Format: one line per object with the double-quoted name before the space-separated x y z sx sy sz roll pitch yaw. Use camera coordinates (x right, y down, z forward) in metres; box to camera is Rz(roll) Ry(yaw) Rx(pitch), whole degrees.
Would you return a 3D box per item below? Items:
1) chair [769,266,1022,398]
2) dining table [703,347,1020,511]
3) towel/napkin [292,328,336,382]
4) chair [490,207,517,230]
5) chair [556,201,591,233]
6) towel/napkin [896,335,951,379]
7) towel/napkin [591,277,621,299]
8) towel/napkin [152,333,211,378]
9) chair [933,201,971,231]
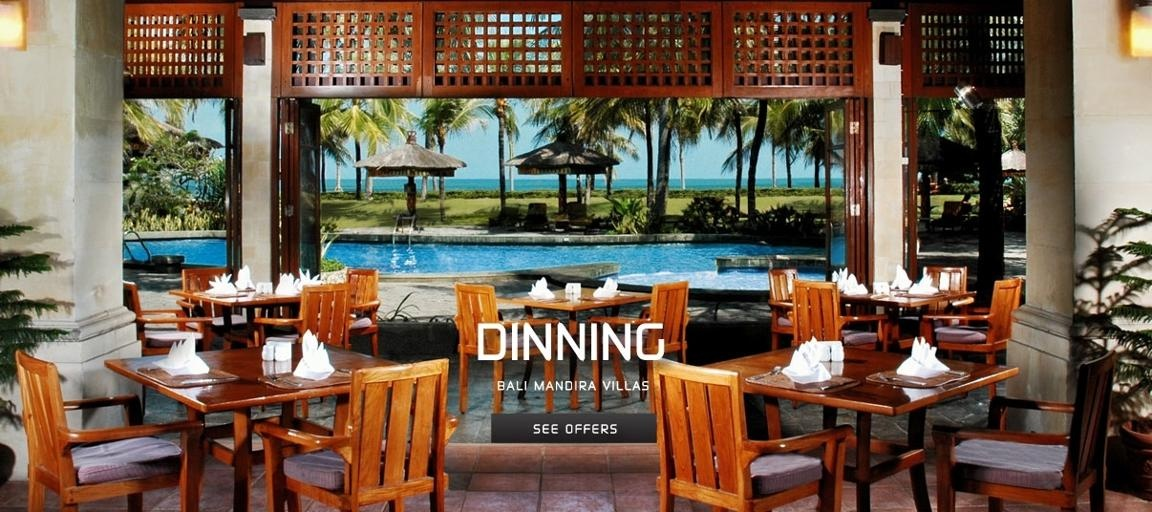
"chair" 3.998 0.901 10.559 2.493 0.892 1.519 4 5 40
"dining table" 2.783 1.439 7.881 2.143 1.133 2.174 -5 5 -42
"towel/napkin" -2.415 0.943 7.858 0.522 0.409 0.417 8 -1 -10
"chair" -2.595 -1.352 29.987 1.022 0.468 1.144 -1 5 -7
"chair" -0.086 -1.220 26.884 0.832 0.688 1.285 0 -2 3
"towel/napkin" 3.212 0.913 7.822 0.427 0.393 0.177 6 12 8
"towel/napkin" 0.405 0.414 10.596 0.239 0.264 0.100 -2 -17 33
"towel/napkin" -3.622 0.889 7.815 0.533 0.262 0.226 -1 -4 -4
"chair" 12.065 -1.294 26.941 1.054 0.799 2.221 0 6 27
